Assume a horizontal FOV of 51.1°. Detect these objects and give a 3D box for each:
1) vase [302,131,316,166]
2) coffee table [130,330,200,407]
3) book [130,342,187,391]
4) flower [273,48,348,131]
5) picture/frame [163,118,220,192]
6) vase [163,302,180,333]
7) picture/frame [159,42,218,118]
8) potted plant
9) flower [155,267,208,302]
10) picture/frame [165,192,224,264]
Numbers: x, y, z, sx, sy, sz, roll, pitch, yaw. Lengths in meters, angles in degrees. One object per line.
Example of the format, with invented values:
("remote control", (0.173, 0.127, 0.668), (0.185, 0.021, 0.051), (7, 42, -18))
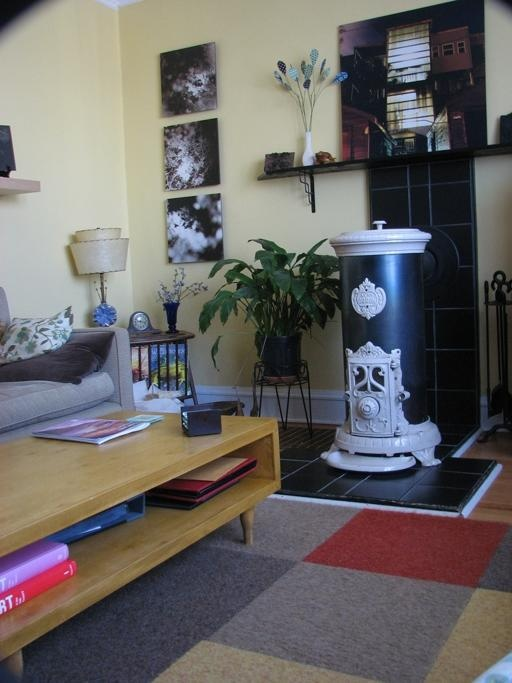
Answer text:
("vase", (0.316, -1.168, 3.252), (0.078, 0.262, 0.192), (-3, 2, 6))
("coffee table", (-0.642, 0.187, 3.502), (0.546, 0.483, 0.375), (1, 14, 18))
("book", (-0.588, 0.168, 3.394), (0.397, 0.238, 0.207), (-4, 2, -28))
("flower", (0.295, -1.583, 3.477), (0.500, 0.518, 0.403), (-5, 8, -11))
("picture/frame", (-0.426, -1.294, 3.687), (0.566, 0.549, 0.025), (2, 5, 30))
("vase", (-0.565, -0.161, 3.588), (0.094, 0.152, 0.217), (-4, 2, -9))
("picture/frame", (-0.443, -1.796, 3.659), (0.599, 0.554, 0.030), (1, 3, 25))
("potted plant", (0.090, -0.084, 3.200), (0.845, 0.671, 0.872), (-15, -17, 36))
("flower", (-0.541, -0.379, 3.809), (0.298, 0.176, 0.296), (-1, 10, 17))
("picture/frame", (-0.408, -0.790, 3.702), (0.611, 0.594, 0.030), (3, 8, 35))
